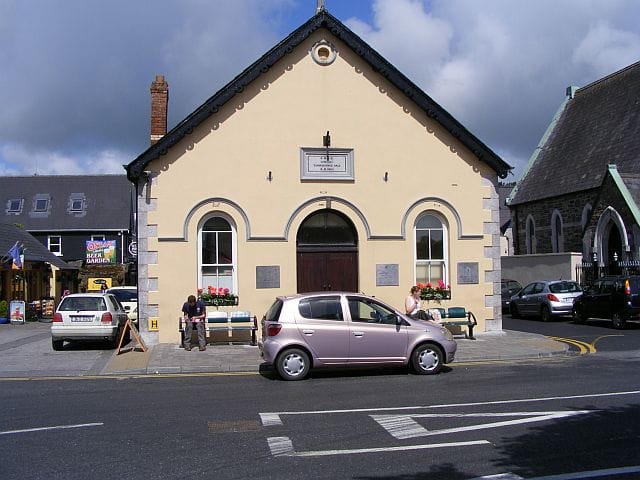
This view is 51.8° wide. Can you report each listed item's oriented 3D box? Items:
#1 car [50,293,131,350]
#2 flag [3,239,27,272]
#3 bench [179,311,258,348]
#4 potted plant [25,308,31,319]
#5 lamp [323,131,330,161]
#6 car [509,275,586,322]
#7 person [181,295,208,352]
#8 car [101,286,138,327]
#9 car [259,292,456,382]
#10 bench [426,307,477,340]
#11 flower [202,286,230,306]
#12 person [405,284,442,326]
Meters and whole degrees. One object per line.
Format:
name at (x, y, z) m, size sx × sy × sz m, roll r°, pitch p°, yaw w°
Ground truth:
car at (-7.139, 2.560, 20.777) m, size 1.705 × 1.761 × 2.409 m, roll -1°, pitch -1°, yaw 17°
flag at (-15.714, 0.825, 33.860) m, size 1.330 × 0.525 × 3.550 m, roll 16°, pitch 18°, yaw -30°
bench at (-3.029, 2.644, 19.582) m, size 2.204 × 1.055 × 0.761 m, roll 1°, pitch -6°, yaw -15°
potted plant at (-15.409, 3.871, 35.009) m, size 0.209 × 0.626 × 0.956 m, roll 0°, pitch -1°, yaw -17°
lamp at (0.251, -2.982, 21.056) m, size 0.256 × 0.942 × 0.258 m, roll 0°, pitch -1°, yaw -10°
car at (9.862, 2.486, 28.594) m, size 1.453 × 1.347 × 2.714 m, roll 0°, pitch 1°, yaw -14°
person at (-3.641, 2.380, 19.228) m, size 0.661 × 1.543 × 1.409 m, roll 0°, pitch -1°, yaw -12°
car at (-8.316, 3.001, 28.459) m, size 1.533 × 1.599 × 2.910 m, roll 0°, pitch 1°, yaw -2°
car at (0.666, 2.346, 15.398) m, size 3.561 × 1.793 × 2.110 m, roll -2°, pitch -4°, yaw -8°
bench at (4.031, 2.595, 20.437) m, size 1.611 × 0.930 × 0.648 m, roll 2°, pitch -1°, yaw -21°
flower at (-3.203, 1.739, 20.468) m, size 0.664 × 0.610 × 0.239 m, roll 2°, pitch -1°, yaw -8°
person at (2.840, 1.834, 17.977) m, size 0.899 × 1.063 × 0.675 m, roll -3°, pitch -4°, yaw 32°
